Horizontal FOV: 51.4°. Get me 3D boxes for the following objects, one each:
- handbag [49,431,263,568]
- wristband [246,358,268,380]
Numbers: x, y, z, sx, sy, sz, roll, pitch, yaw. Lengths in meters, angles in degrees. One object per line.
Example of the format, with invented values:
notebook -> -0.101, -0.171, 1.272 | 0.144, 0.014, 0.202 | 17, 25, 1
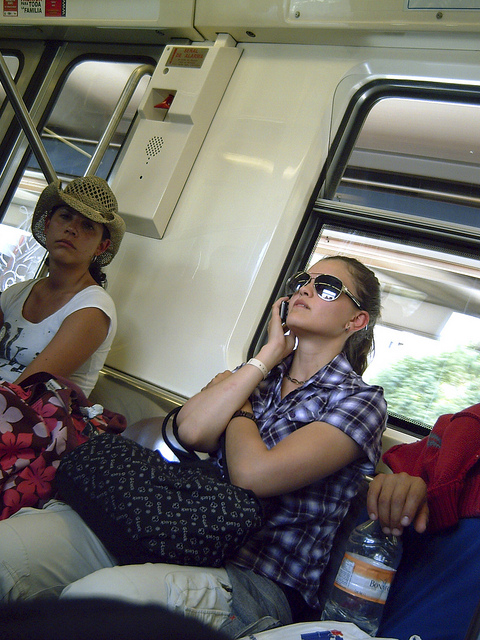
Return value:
handbag -> -0.177, 0.307, 1.031 | 0.390, 0.122, 0.267 | 21, 16, 33
wristband -> 0.056, 0.136, 1.437 | 0.067, 0.063, 0.037 | 24, 43, 21
